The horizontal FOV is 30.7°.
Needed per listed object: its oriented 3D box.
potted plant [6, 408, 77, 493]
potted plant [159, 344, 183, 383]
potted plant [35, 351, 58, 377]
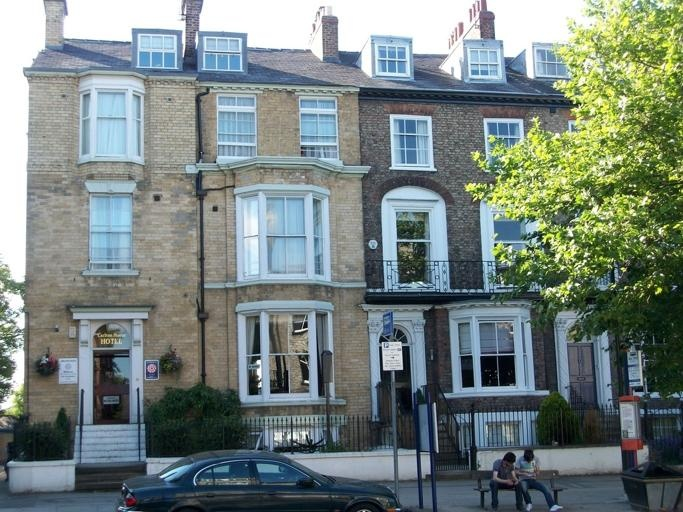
[{"bbox_3d":[-8.718,5.782,36.347,2.028,2.673,2.155,2,-7,-8],"label":"potted plant"},{"bbox_3d":[-5.604,3.378,39.638,0.851,1.150,0.947,-7,-10,20],"label":"potted plant"},{"bbox_3d":[-9.262,3.374,38.915,0.608,0.696,0.438,-5,6,-11],"label":"potted plant"}]
